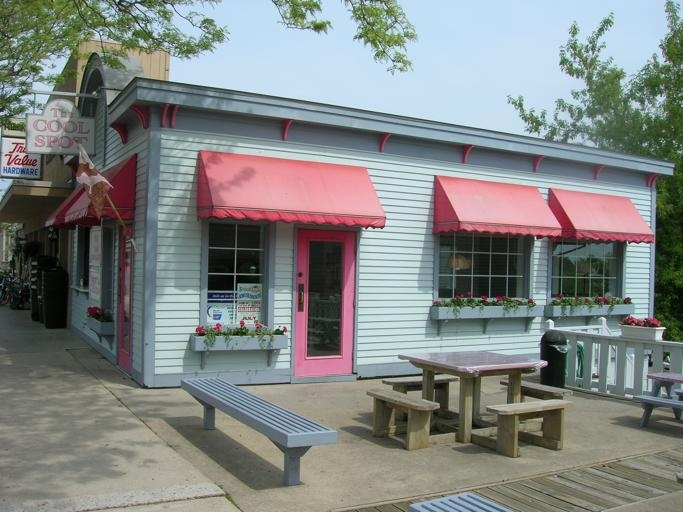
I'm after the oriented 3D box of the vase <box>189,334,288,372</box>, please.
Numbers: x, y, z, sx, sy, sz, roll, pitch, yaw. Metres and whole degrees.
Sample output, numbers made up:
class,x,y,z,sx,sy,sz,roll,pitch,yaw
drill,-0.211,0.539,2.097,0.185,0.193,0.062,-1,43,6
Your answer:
class,x,y,z,sx,sy,sz,roll,pitch,yaw
vase,-1.829,1.695,12.033,1.645,0.431,0.361,1,0,-15

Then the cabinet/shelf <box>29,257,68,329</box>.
class,x,y,z,sx,sy,sz,roll,pitch,yaw
cabinet/shelf,-8.539,1.088,19.188,0.690,1.230,2.394,0,2,-31

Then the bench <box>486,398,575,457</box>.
class,x,y,z,sx,sy,sz,roll,pitch,yaw
bench,2.693,2.474,9.318,0.931,0.388,0.331,1,-2,-32

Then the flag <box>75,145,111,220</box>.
class,x,y,z,sx,sy,sz,roll,pitch,yaw
flag,-4.485,-1.431,11.908,0.620,1.394,0.973,6,-7,-21

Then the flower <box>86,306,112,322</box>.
class,x,y,z,sx,sy,sz,roll,pitch,yaw
flower,-5.168,1.253,14.060,0.450,0.138,0.399,9,6,-27

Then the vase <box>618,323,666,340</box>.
class,x,y,z,sx,sy,sz,roll,pitch,yaw
vase,6.049,1.534,13.217,0.831,0.284,0.520,-2,-7,33
